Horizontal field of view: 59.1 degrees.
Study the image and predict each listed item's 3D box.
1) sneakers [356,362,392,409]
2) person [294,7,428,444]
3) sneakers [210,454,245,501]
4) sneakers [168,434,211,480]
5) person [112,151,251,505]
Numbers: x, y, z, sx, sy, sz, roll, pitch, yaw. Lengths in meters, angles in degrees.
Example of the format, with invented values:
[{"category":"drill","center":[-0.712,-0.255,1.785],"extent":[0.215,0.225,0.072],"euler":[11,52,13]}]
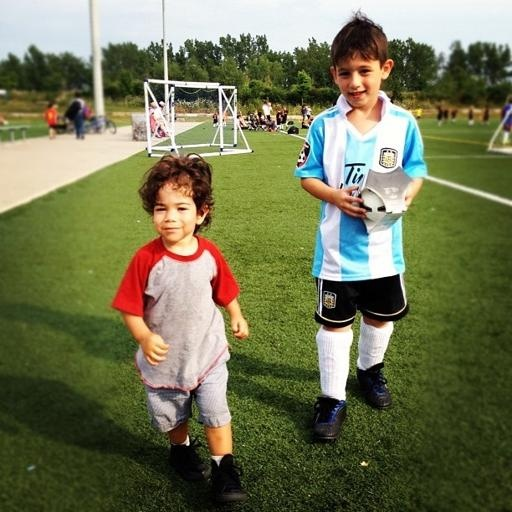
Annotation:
[{"category":"sneakers","center":[0.499,0.552,1.903],"extent":[0.071,0.099,0.215],"euler":[-6,2,-5]},{"category":"person","center":[0.381,-0.073,1.609],"extent":[0.467,1.438,0.434],"euler":[-1,21,1]},{"category":"sneakers","center":[-0.082,0.699,1.416],"extent":[0.064,0.077,0.163],"euler":[0,-9,-9]},{"category":"sneakers","center":[-0.223,0.689,1.557],"extent":[0.154,0.100,0.074],"euler":[5,4,42]},{"category":"person","center":[-0.228,0.231,1.462],"extent":[0.394,1.028,0.545],"euler":[-2,21,-2]}]
